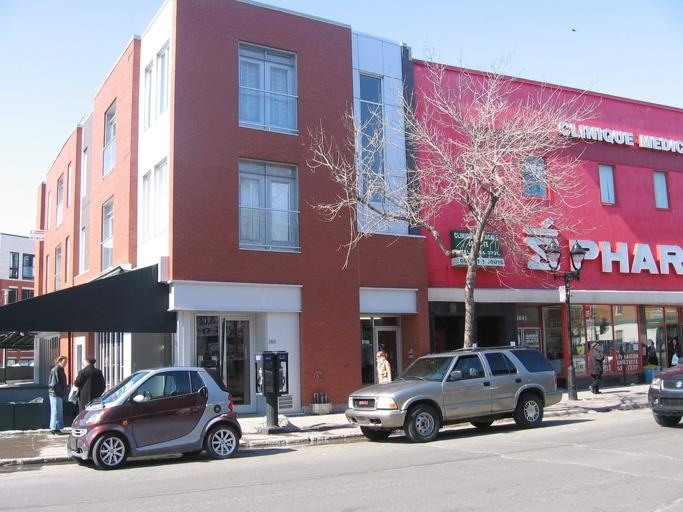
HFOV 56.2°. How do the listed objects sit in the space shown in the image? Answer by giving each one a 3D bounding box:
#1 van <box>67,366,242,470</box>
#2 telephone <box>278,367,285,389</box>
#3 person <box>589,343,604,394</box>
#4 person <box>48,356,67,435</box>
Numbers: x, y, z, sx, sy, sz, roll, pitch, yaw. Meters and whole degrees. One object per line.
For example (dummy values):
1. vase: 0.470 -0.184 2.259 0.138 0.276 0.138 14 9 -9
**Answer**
1. van: -4.270 3.594 14.432 3.241 1.834 1.973 6 -13 -27
2. telephone: -1.612 3.360 17.493 0.201 0.658 0.699 -1 -5 -5
3. person: 9.594 4.229 24.282 0.432 1.860 0.771 -3 -5 21
4. person: -7.831 3.844 17.721 0.426 2.077 0.754 1 -5 -24
